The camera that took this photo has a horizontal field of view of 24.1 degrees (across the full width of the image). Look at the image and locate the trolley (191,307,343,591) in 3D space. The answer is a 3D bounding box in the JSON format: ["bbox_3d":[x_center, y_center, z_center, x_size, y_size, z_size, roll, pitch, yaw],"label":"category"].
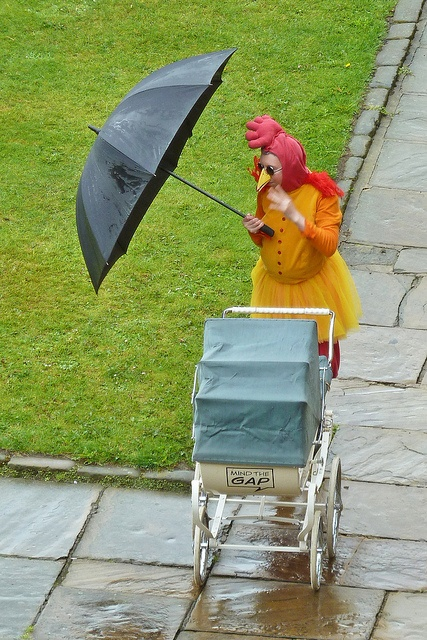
[{"bbox_3d":[0.245,0.769,5.096,0.786,1.467,1.019,-2,37,6],"label":"trolley"}]

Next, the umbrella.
[{"bbox_3d":[-0.381,-0.814,5.748,0.638,0.960,1.431,7,39,17],"label":"umbrella"}]
